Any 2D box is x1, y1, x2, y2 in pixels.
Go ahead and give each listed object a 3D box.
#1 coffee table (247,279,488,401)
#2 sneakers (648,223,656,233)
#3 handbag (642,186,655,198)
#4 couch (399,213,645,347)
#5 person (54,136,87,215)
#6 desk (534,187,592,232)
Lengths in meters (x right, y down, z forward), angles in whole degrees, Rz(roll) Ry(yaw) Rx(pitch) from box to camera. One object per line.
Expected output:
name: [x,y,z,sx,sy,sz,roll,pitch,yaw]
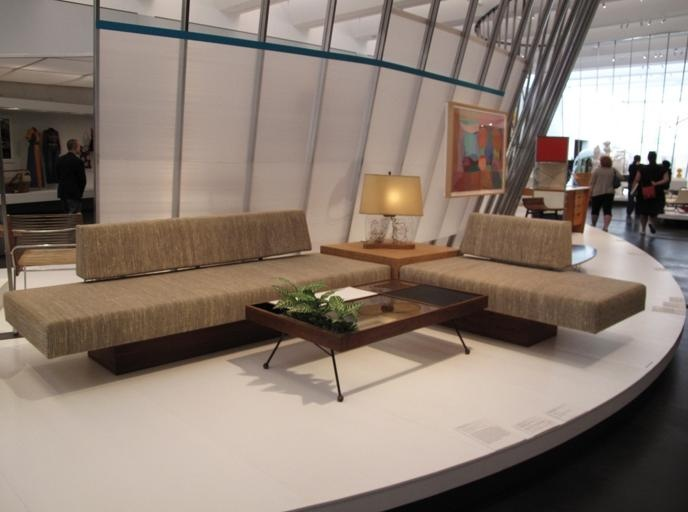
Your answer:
coffee table: [0.272,0.421,3.903,1.761,0.273,0.937,-5,15,-38]
sneakers: [8.273,-0.742,12.319,0.144,0.289,0.129,-19,4,20]
handbag: [7.670,-1.615,11.540,0.311,0.278,0.139,1,12,38]
couch: [1.848,0.211,4.809,1.287,1.042,2.083,-11,14,-32]
person: [-5.115,-1.468,8.604,0.447,1.414,1.237,-3,15,-31]
desk: [4.561,-1.028,9.559,0.640,0.887,1.538,7,14,35]
